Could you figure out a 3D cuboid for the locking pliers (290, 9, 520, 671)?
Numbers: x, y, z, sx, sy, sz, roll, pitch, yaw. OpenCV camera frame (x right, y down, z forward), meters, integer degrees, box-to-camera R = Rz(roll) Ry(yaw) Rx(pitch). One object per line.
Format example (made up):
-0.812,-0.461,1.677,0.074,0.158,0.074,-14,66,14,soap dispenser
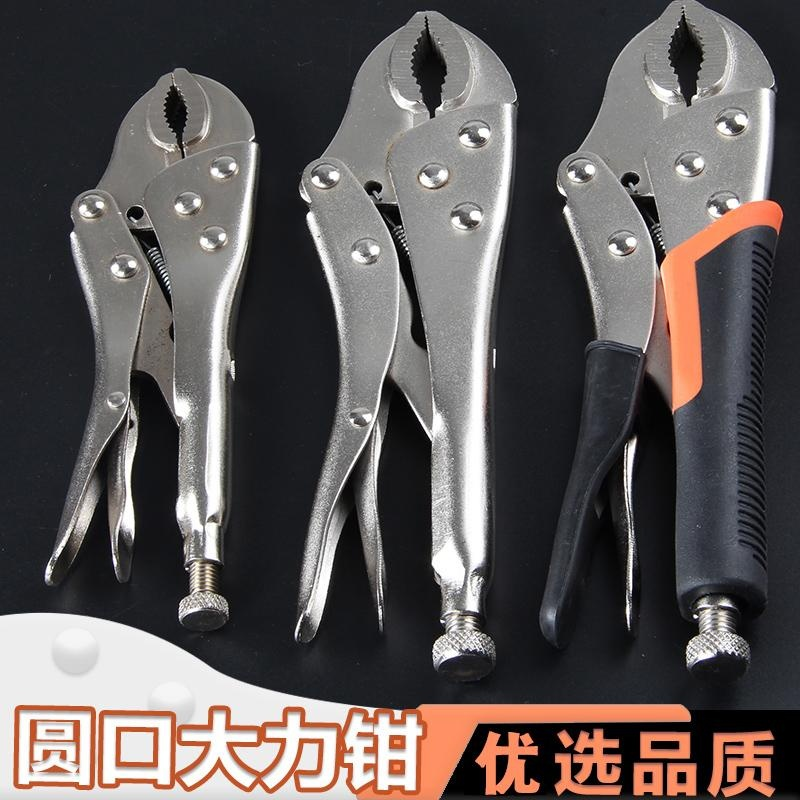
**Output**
0.002,-0.088,1.103,0.188,0.628,0.214,0,-13,4,locking pliers

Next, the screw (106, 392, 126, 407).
-0.223,-0.001,1.053,0.016,0.015,0.007,-4,-13,18,screw

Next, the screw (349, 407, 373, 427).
-0.030,0.013,1.027,0.019,0.017,0.009,-1,-13,7,screw

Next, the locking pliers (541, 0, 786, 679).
0.220,-0.097,1.087,0.188,0.635,0.250,-2,-13,12,locking pliers

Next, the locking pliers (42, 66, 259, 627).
-0.204,-0.073,1.112,0.161,0.530,0.181,2,-13,-7,locking pliers
